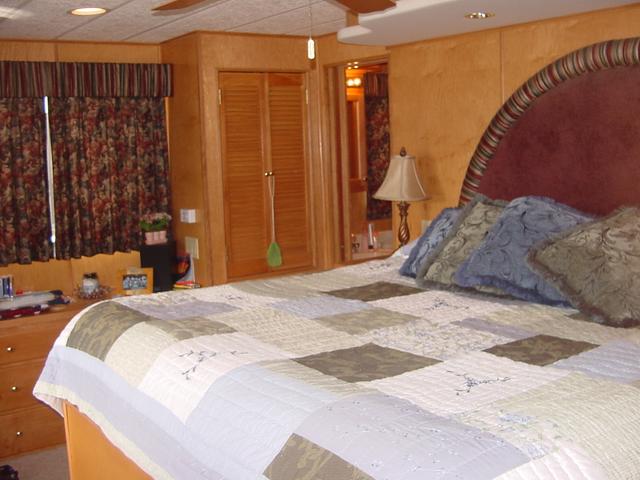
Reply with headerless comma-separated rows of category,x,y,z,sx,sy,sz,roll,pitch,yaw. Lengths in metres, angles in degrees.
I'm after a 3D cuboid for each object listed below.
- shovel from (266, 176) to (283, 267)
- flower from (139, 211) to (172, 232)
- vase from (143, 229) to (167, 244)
shovel,-0.524,-0.230,5.540,0.098,1.083,0.229,-7,-8,38
flower,-1.771,-0.188,5.317,0.305,0.210,0.313,-4,9,-18
vase,-1.761,-0.033,5.297,0.282,0.152,0.152,-3,2,-40
